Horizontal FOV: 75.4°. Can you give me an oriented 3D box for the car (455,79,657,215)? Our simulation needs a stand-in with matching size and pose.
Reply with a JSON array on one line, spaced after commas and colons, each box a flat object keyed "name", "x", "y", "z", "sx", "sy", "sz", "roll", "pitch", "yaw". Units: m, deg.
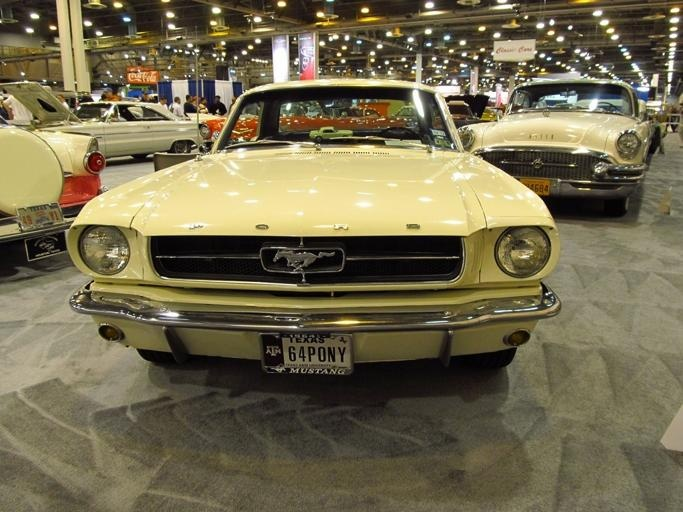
[{"name": "car", "x": 2.971, "y": -1.674, "z": 5.926, "sx": 2.333, "sy": 1.200, "sz": 3.526, "roll": 8, "pitch": 17, "yaw": 32}]

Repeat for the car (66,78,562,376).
[{"name": "car", "x": -0.057, "y": -0.553, "z": 3.302, "sx": 2.302, "sy": 1.085, "sz": 3.129, "roll": 0, "pitch": 11, "yaw": 4}]
